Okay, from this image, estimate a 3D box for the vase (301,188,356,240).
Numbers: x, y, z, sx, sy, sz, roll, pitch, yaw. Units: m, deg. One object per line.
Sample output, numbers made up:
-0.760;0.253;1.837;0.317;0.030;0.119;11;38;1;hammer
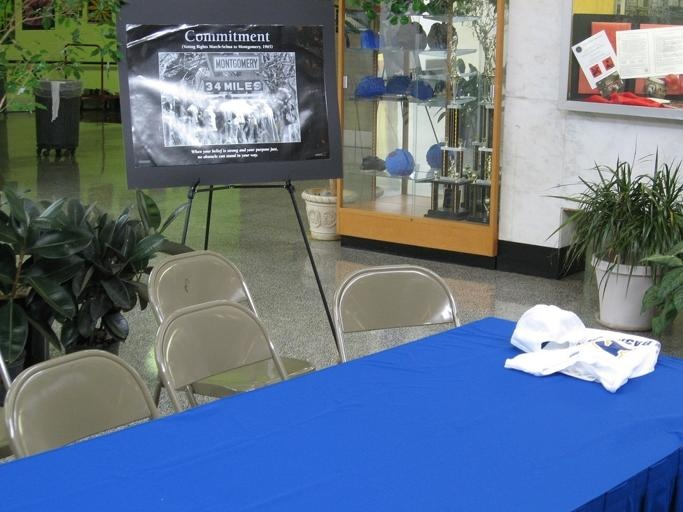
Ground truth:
-0.216;-0.491;6.071;0.537;0.525;0.573;-1;12;-3;vase
